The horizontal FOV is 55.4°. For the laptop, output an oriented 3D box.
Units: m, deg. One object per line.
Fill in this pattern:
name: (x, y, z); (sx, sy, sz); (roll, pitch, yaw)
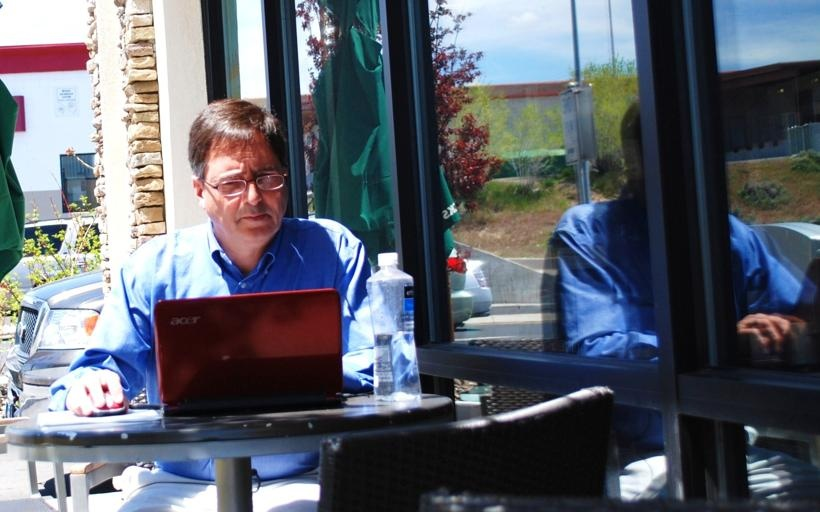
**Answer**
laptop: (-0.568, 0.207, 2.899); (0.593, 0.425, 0.441); (-2, 6, -8)

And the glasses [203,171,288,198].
glasses: (-0.641, -0.289, 3.164); (0.314, 0.089, 0.113); (-7, 5, -14)

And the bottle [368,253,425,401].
bottle: (-0.052, 0.249, 2.941); (0.171, 0.519, 0.362); (-5, 5, 0)
